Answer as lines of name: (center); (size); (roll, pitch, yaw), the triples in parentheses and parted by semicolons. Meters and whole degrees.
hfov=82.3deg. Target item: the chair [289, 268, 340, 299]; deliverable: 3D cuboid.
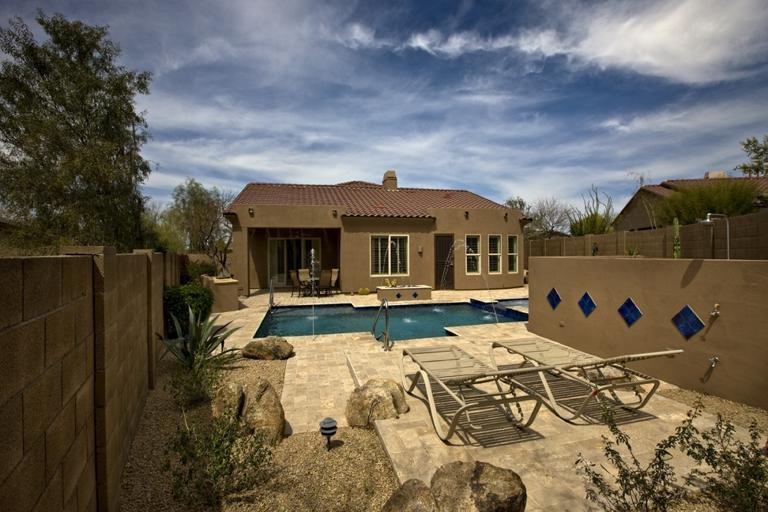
chair: (-3.214, 1.267, 20.543); (1.156, 1.404, 2.069); (0, 7, -2)
